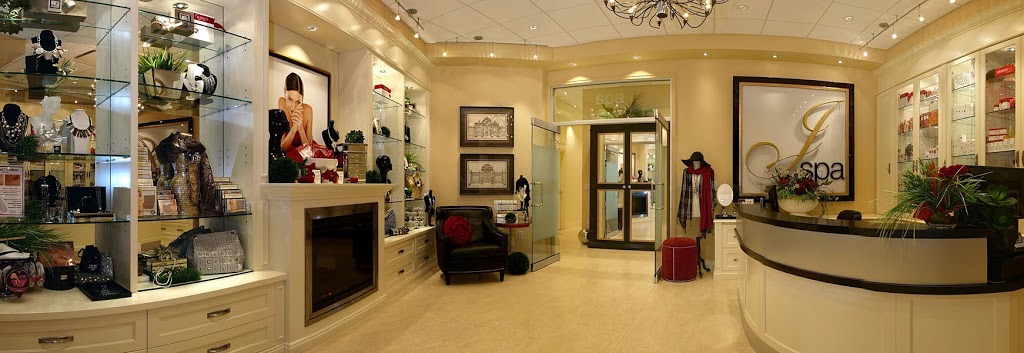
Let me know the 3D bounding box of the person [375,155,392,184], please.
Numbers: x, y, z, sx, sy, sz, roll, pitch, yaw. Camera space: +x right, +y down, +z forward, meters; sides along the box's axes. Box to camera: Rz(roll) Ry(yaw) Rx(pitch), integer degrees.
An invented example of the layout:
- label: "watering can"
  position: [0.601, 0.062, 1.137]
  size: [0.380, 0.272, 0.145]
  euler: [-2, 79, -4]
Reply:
- label: "person"
  position: [-3.286, -0.213, 13.303]
  size: [0.429, 0.657, 0.917]
  euler: [-2, 0, -13]

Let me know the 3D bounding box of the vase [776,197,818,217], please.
- label: "vase"
  position: [7.548, 0.781, 13.894]
  size: [0.966, 0.325, 0.771]
  euler: [1, -6, -2]

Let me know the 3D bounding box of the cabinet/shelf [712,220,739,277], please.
- label: "cabinet/shelf"
  position: [5.626, 1.890, 13.740]
  size: [0.639, 1.584, 0.226]
  euler: [-3, 0, 10]

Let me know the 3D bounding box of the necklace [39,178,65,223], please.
- label: "necklace"
  position: [-9.760, 0.446, 11.020]
  size: [0.435, 0.869, 0.275]
  euler: [-3, 0, 30]

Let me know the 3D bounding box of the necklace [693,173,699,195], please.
- label: "necklace"
  position: [5.071, 0.214, 14.279]
  size: [0.206, 0.534, 0.037]
  euler: [-3, 0, 9]

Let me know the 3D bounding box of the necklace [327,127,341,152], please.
- label: "necklace"
  position: [-4.316, -0.860, 12.439]
  size: [0.250, 0.668, 0.288]
  euler: [-2, 4, 37]

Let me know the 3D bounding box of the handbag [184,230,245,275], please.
- label: "handbag"
  position: [-6.634, 1.706, 11.466]
  size: [1.412, 0.837, 0.625]
  euler: [-1, -5, -23]

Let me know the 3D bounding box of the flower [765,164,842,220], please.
- label: "flower"
  position: [7.756, 0.460, 13.996]
  size: [1.356, 0.698, 1.059]
  euler: [-2, 16, 30]

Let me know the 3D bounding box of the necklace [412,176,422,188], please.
- label: "necklace"
  position: [-2.629, 0.142, 14.184]
  size: [0.237, 0.286, 0.396]
  euler: [3, -2, 32]

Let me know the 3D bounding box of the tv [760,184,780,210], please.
- label: "tv"
  position: [6.517, 0.578, 13.196]
  size: [0.386, 0.662, 0.960]
  euler: [-7, -4, 17]

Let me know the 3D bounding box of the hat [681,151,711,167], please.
- label: "hat"
  position: [5.055, -0.480, 14.343]
  size: [0.610, 0.213, 0.592]
  euler: [16, -6, -42]

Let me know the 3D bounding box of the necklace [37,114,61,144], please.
- label: "necklace"
  position: [-9.837, -1.029, 11.032]
  size: [0.439, 0.539, 0.123]
  euler: [-2, 0, -3]

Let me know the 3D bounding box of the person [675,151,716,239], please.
- label: "person"
  position: [5.035, 0.477, 14.344]
  size: [0.962, 2.402, 0.375]
  euler: [-3, 0, 17]
